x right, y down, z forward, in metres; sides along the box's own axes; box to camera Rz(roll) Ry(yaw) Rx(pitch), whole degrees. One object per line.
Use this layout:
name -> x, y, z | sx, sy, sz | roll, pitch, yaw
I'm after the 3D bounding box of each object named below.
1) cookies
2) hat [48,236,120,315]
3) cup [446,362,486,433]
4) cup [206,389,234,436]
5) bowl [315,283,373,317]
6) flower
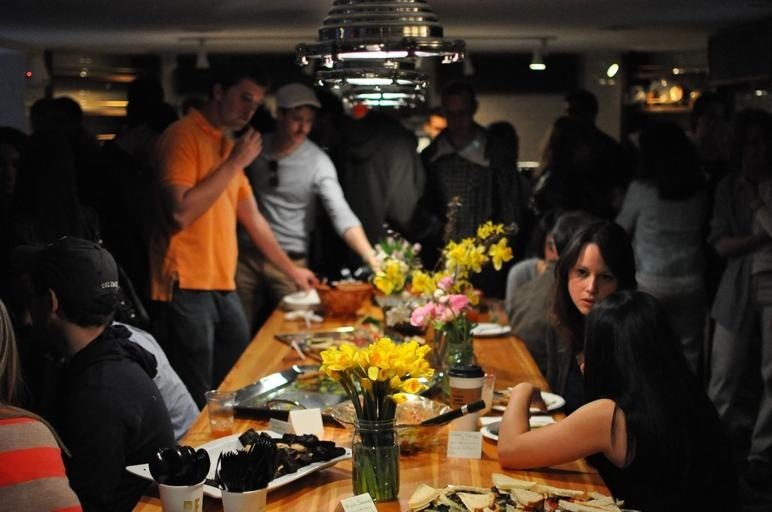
cookies -> -0.327, 0.713, 2.509 | 0.227, 0.043, 0.228 | -1, 17, -36
hat -> -1.306, 0.097, 3.013 | 0.251, 0.200, 0.405 | 15, 30, -45
cup -> 0.370, 0.593, 2.832 | 0.188, 0.263, 0.192 | 2, -10, 0
cup -> -0.655, 0.648, 2.805 | 0.111, 0.155, 0.119 | 1, -6, 0
bowl -> -0.249, 0.246, 4.088 | 0.233, 0.135, 0.238 | 1, 1, 0
flower -> 0.319, 0.152, 3.197 | 0.536, 0.571, 0.506 | -4, 14, 30
